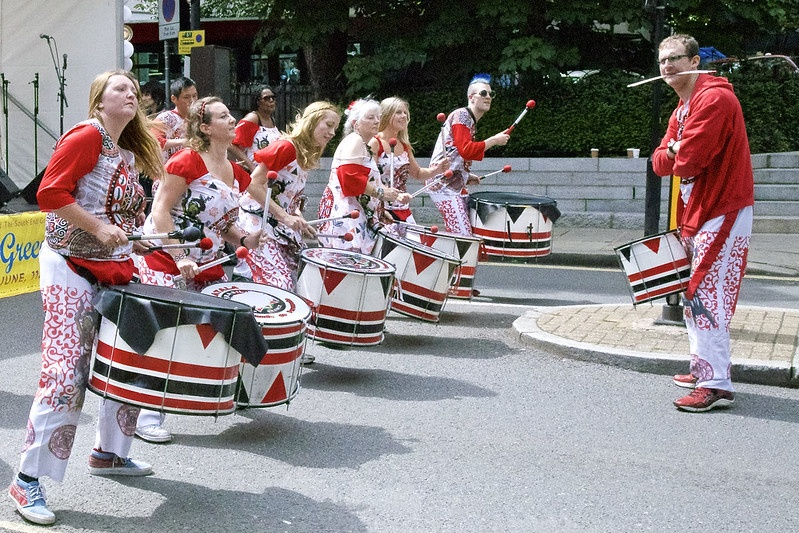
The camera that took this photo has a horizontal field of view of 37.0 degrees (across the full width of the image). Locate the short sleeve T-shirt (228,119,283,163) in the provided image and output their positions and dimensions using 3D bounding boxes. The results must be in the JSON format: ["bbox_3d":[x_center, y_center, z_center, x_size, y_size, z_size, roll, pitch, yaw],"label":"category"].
[{"bbox_3d":[-1.552,-1.451,13.739,0.428,0.597,0.723,17,18,29],"label":"short sleeve T-shirt"}]

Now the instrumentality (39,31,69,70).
[{"bbox_3d":[-4.686,-2.902,16.160,0.218,0.481,0.533,-12,17,-43],"label":"instrumentality"}]

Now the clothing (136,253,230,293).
[{"bbox_3d":[-1.711,0.005,9.699,0.860,0.265,0.642,9,11,38],"label":"clothing"}]

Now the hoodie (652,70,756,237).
[{"bbox_3d":[2.567,-0.921,9.985,0.818,1.360,0.522,5,14,21],"label":"hoodie"}]

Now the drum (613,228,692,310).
[{"bbox_3d":[2.349,0.033,10.904,0.751,0.552,0.689,-21,1,0],"label":"drum"}]

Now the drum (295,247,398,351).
[{"bbox_3d":[-0.460,0.211,10.443,0.992,0.622,0.875,16,16,17],"label":"drum"}]

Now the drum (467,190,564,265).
[{"bbox_3d":[1.300,-0.465,13.229,0.933,0.467,0.824,6,18,10],"label":"drum"}]

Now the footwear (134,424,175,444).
[{"bbox_3d":[-1.913,1.311,9.310,0.304,0.093,0.125,0,-1,20],"label":"footwear"}]

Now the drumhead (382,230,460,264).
[{"bbox_3d":[0.177,-0.154,11.080,0.457,0.100,0.412,15,8,-15],"label":"drumhead"}]

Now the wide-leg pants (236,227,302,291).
[{"bbox_3d":[-1.093,-0.011,10.362,0.568,0.222,0.508,25,54,2],"label":"wide-leg pants"}]

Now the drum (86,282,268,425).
[{"bbox_3d":[-1.541,0.665,8.636,1.230,0.677,1.313,9,-5,1],"label":"drum"}]

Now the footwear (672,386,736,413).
[{"bbox_3d":[2.539,1.095,9.857,0.576,0.205,0.184,-1,6,-7],"label":"footwear"}]

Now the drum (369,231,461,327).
[{"bbox_3d":[0.092,0.129,11.388,0.945,0.607,0.820,16,7,-7],"label":"drum"}]

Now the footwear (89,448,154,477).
[{"bbox_3d":[-2.071,1.448,8.859,0.572,0.190,0.172,1,4,-12],"label":"footwear"}]
